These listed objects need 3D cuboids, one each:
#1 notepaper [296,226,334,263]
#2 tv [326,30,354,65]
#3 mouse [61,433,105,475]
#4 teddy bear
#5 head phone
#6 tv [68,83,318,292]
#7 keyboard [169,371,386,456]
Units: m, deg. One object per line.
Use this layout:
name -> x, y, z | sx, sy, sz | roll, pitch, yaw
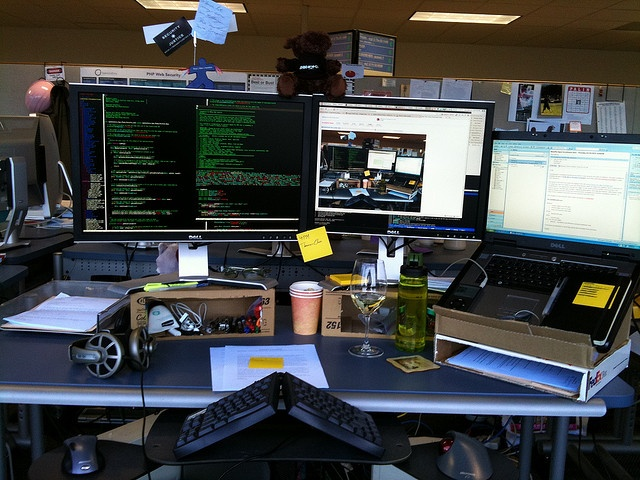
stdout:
notepaper -> -0.018, 0.017, 1.640 | 0.116, 0.096, 0.025 | -16, 3, -2
tv -> 0.144, -1.421, 3.957 | 0.257, 0.230, 0.022 | -26, 49, -33
mouse -> -0.557, 0.505, 1.246 | 0.116, 0.049, 0.166 | 0, 10, -25
teddy bear -> -0.032, -0.514, 1.569 | 0.208, 0.176, 0.113 | -1, 19, -2
head phone -> -0.526, 0.275, 1.373 | 0.214, 0.100, 0.212 | -3, 1, -28
tv -> -0.356, -0.161, 1.562 | 1.042, 0.589, 0.074 | 0, 8, -9
keyboard -> -0.089, 0.394, 1.222 | 0.454, 0.129, 0.174 | 0, 14, -2
